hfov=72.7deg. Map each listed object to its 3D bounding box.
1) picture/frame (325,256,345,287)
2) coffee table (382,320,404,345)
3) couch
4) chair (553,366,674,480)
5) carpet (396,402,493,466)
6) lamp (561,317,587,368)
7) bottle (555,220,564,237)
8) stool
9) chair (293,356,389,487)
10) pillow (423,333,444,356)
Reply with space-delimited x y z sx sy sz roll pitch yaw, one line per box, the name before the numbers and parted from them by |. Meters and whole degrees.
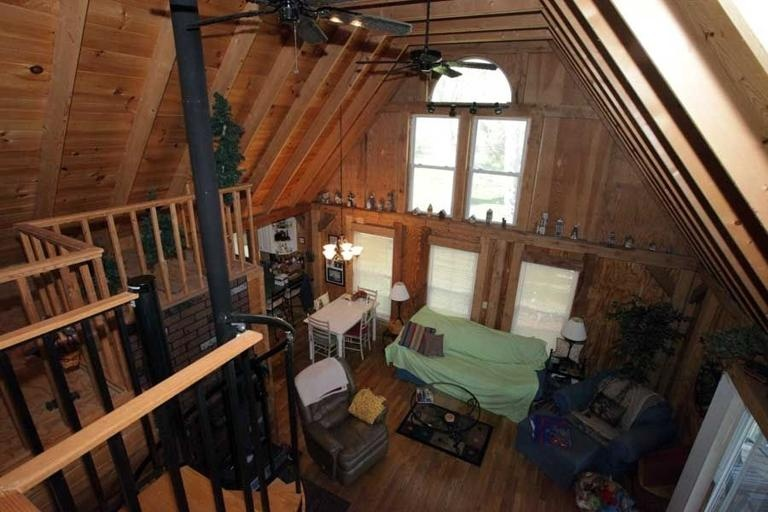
picture/frame | -1.014 0.308 10.698 0.549 0.642 0.056 14 24 32
coffee table | 0.150 1.495 10.347 0.400 0.571 0.422 7 10 24
couch | 1.376 1.740 8.711 2.174 0.719 1.479 14 40 29
chair | 3.292 2.575 7.487 1.111 1.063 1.428 -8 26 -16
carpet | 0.985 2.671 7.975 1.112 0.046 0.778 12 29 27
lamp | 3.118 1.399 8.627 0.356 0.848 0.710 14 13 26
bottle | 2.858 -0.457 8.542 0.145 0.291 0.091 12 12 17
stool | 2.349 2.616 7.133 0.869 0.563 0.865 -13 26 -38
chair | -0.671 2.344 7.460 1.229 1.341 0.948 18 15 40
pillow | 0.849 1.514 8.816 0.308 0.311 0.135 1 -20 3
